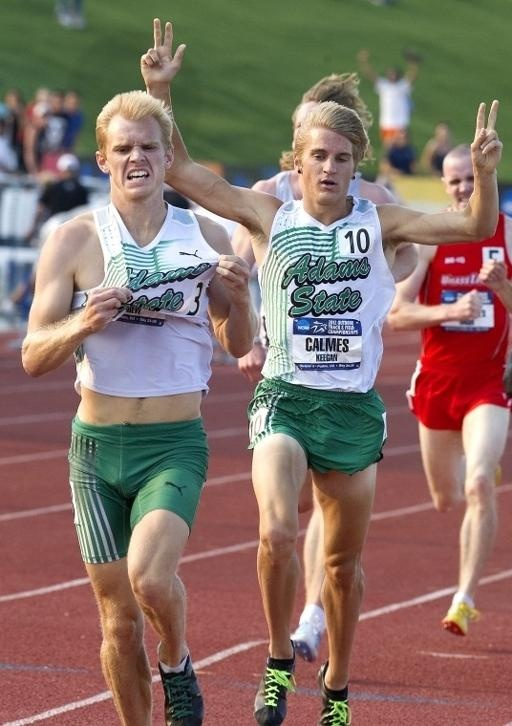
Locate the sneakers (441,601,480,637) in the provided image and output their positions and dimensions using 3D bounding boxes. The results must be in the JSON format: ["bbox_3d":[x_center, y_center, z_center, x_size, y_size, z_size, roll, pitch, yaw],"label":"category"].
[{"bbox_3d":[0.783,0.962,3.413,0.120,0.064,0.170,32,22,15],"label":"sneakers"}]
